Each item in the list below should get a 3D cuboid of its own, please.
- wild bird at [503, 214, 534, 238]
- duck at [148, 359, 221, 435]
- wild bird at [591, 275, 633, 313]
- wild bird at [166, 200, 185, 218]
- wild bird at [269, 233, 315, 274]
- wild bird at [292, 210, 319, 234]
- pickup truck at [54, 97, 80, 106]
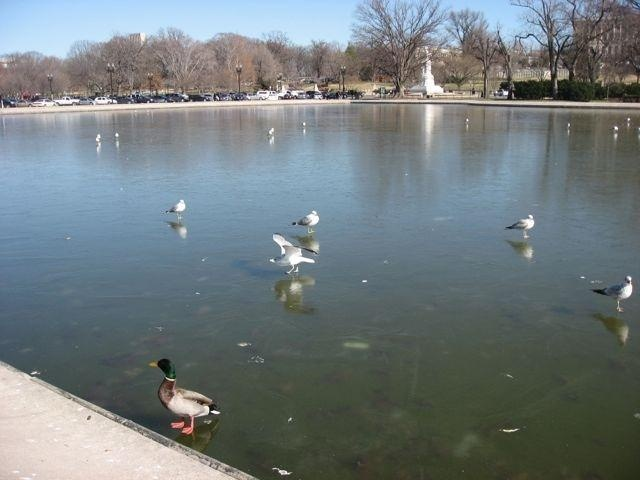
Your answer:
[{"bbox_3d":[4.068,-0.251,12.334,0.775,0.498,0.372,-1,8,-23],"label":"wild bird"},{"bbox_3d":[-1.501,1.745,7.133,0.688,0.898,0.474,-4,14,-7],"label":"duck"},{"bbox_3d":[4.435,0.736,9.561,0.529,0.584,0.931,5,15,26],"label":"wild bird"},{"bbox_3d":[-3.133,-0.679,13.838,0.585,0.388,0.316,4,13,29],"label":"wild bird"},{"bbox_3d":[-0.458,0.246,10.464,0.639,0.739,0.673,-6,12,-28],"label":"wild bird"},{"bbox_3d":[-0.296,-0.408,12.618,0.653,0.491,0.314,14,22,23],"label":"wild bird"},{"bbox_3d":[-31.826,-17.376,79.009,2.313,0.671,24.437,-7,15,-21],"label":"pickup truck"}]
